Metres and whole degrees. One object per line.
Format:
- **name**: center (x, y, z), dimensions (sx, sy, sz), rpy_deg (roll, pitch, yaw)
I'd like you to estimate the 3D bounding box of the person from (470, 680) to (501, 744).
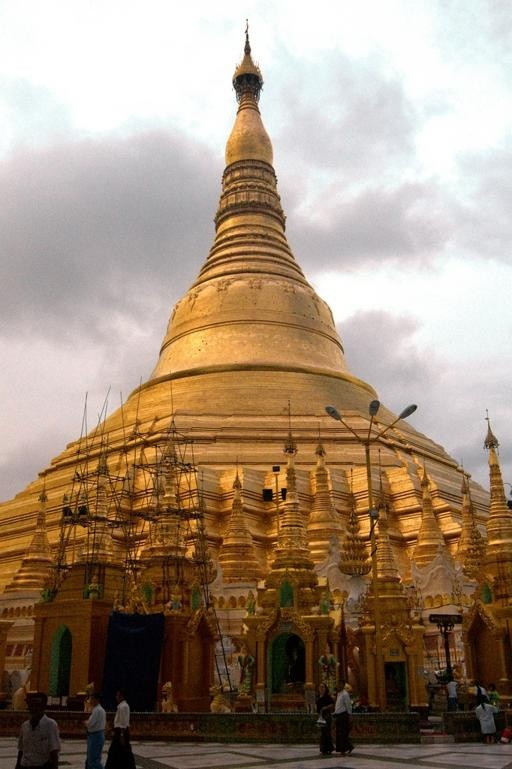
- **person**: center (3.689, 5.313, 10.797), dimensions (0.339, 0.809, 0.675), rpy_deg (-9, -23, 18)
